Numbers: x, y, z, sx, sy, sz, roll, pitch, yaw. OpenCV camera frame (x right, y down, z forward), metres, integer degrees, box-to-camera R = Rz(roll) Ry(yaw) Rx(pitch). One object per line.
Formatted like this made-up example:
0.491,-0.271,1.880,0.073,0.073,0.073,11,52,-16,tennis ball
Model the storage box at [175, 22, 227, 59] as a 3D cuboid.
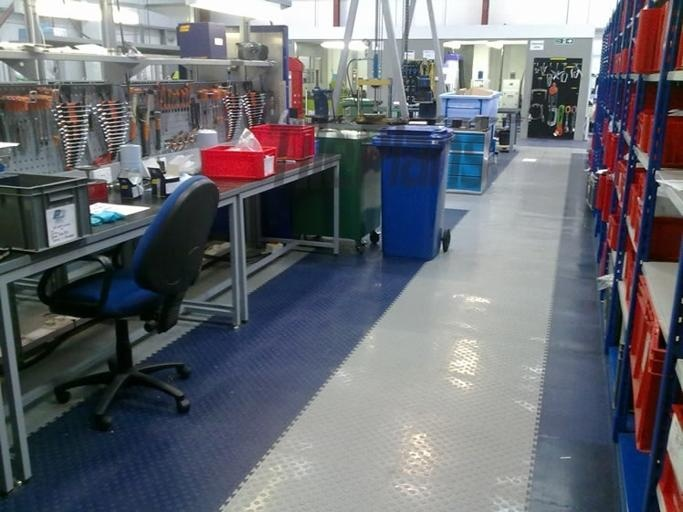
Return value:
-1.144,-1.738,4.319,0.382,0.279,0.359,4,12,15,storage box
